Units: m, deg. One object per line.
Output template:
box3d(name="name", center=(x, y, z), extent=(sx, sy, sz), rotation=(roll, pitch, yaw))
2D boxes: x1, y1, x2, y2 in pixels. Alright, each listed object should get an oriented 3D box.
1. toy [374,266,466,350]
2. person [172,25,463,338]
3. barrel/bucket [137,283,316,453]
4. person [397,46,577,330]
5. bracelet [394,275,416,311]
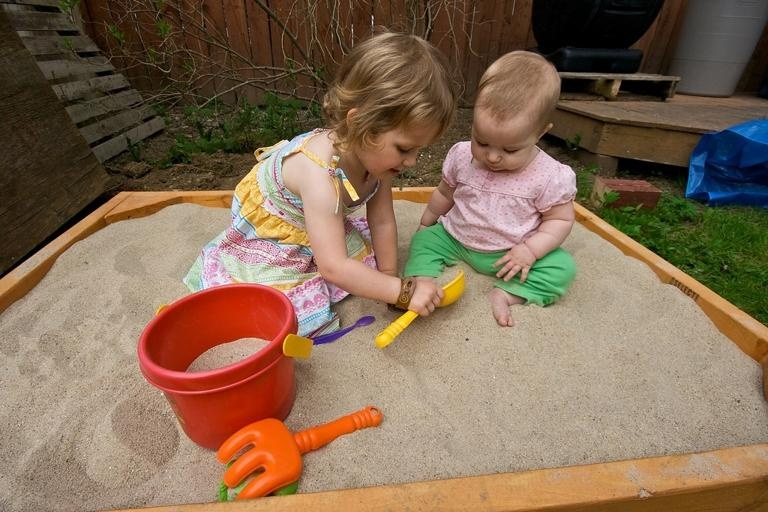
box3d(name="toy", center=(0.164, 0.236, 2.384), extent=(0.505, 0.124, 0.222), rotation=(-38, 21, 12))
box3d(name="person", center=(-0.278, -0.436, 2.668), extent=(1.219, 1.311, 1.153), rotation=(14, 28, 13))
box3d(name="barrel/bucket", center=(-0.627, 0.489, 2.403), extent=(0.689, 0.500, 0.653), rotation=(-5, 36, 4))
box3d(name="person", center=(0.474, -0.309, 2.590), extent=(0.842, 1.109, 0.775), rotation=(18, 43, 24))
box3d(name="bracelet", center=(0.092, 0.166, 2.392), extent=(0.046, 0.099, 0.129), rotation=(12, 75, 2))
